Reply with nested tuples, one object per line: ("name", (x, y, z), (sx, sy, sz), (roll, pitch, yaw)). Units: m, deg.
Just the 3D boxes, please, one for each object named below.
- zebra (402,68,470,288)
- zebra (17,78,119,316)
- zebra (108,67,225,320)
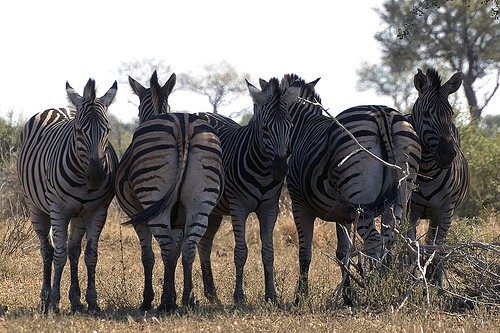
("zebra", (3.337, 0.408, 12.265), (1.384, 3.540, 4.728), (0, -4, 11))
("zebra", (-3.100, 0.578, 11.282), (0.833, 3.745, 2.250), (11, -16, -42))
("zebra", (-1.451, 0.258, 11.262), (1.681, 4.602, 2.179), (4, -12, -13))
